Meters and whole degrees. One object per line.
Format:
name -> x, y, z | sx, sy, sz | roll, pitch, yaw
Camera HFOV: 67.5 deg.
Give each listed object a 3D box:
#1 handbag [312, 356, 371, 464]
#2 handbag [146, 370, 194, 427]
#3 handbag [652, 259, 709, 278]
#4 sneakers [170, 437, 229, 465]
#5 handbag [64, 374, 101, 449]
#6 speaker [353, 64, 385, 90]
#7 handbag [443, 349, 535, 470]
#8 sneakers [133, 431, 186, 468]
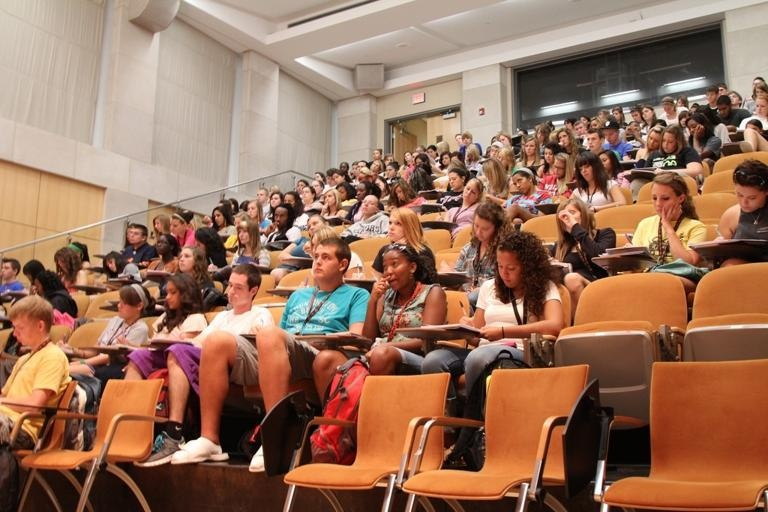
handbag -> -0.204, 0.829, 3.088 | 0.165, 0.507, 0.278 | 17, -20, -23
handbag -> -1.357, 0.859, 3.522 | 0.277, 0.306, 0.115 | 3, -9, -23
handbag -> 1.990, 0.091, 3.810 | 0.283, 0.113, 0.217 | 1, 1, -42
sneakers -> -1.061, 1.097, 3.285 | 0.291, 0.134, 0.145 | 10, -14, -20
handbag -> -1.945, 1.006, 3.718 | 0.126, 0.430, 0.310 | 3, -3, -16
speaker -> -0.376, -4.764, 15.322 | 0.653, 0.687, 0.663 | 1, -6, -21
handbag -> 0.527, 0.765, 2.817 | 0.411, 0.613, 0.314 | 6, -31, 13
sneakers -> -1.317, 1.094, 3.300 | 0.343, 0.170, 0.142 | 7, -10, -39
